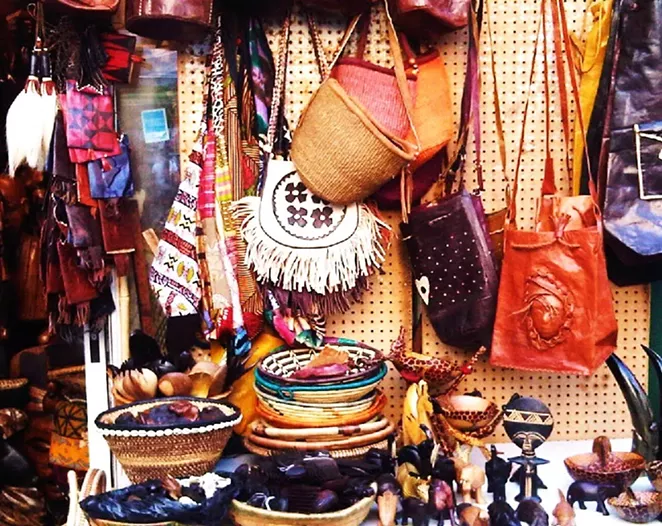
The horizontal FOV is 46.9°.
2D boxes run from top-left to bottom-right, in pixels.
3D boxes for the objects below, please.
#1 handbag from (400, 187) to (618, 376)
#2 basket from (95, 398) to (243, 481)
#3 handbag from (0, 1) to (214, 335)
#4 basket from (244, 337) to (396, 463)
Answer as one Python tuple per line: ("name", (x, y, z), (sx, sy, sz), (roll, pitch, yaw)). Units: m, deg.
("handbag", (0.593, 0.028, 2.534), (0.445, 0.840, 0.438), (2, 5, 23))
("basket", (-0.425, 0.457, 2.052), (0.243, 0.138, 0.257), (1, 0, -29))
("handbag", (-0.724, -0.244, 2.230), (0.565, 0.979, 0.238), (-3, 1, -11))
("basket", (-0.045, 0.401, 2.278), (0.444, 0.285, 0.325), (-1, 5, -9))
